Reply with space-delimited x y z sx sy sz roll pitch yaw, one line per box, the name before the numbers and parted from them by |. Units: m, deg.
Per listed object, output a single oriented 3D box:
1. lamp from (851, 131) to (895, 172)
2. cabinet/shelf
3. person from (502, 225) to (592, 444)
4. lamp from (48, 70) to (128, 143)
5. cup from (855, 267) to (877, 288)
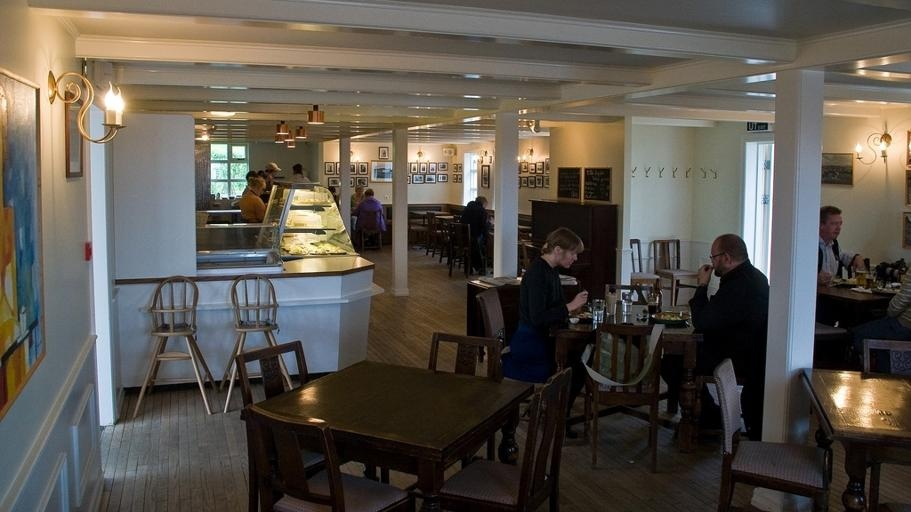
lamp | 5.765 -1.494 8.778 0.448 0.462 0.199 3 9 36
cabinet/shelf | -1.887 -0.435 8.282 1.397 0.751 0.828 1 2 -24
person | 0.915 0.762 6.032 0.973 1.935 0.798 -2 5 21
lamp | -2.494 -1.015 4.336 0.413 0.470 0.219 -1 13 -13
cup | 4.755 0.253 7.361 0.255 0.217 0.246 -2 3 0
